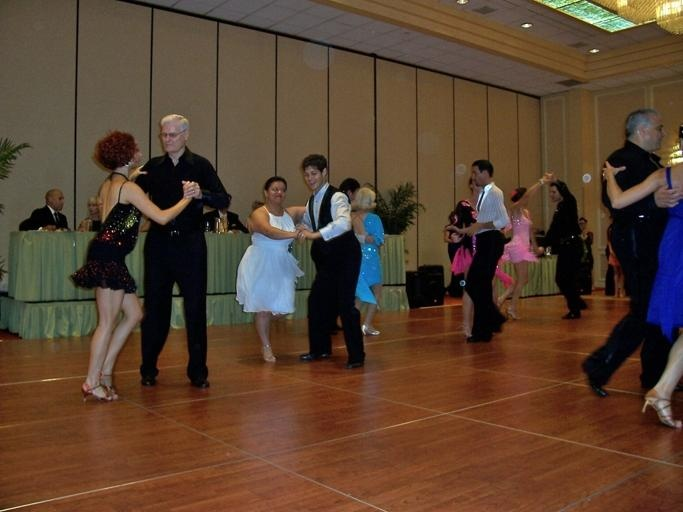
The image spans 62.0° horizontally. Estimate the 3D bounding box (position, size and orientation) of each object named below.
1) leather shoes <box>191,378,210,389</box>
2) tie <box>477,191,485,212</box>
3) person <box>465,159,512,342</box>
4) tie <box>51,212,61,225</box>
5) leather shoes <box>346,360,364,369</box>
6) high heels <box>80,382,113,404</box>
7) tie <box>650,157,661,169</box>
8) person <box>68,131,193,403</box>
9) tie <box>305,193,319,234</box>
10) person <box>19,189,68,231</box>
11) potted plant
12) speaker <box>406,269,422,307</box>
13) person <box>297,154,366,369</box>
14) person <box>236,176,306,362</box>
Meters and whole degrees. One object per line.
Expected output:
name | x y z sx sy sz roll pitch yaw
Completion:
leather shoes | -1.021 0.931 4.138 0.115 0.054 0.058 -3 2 36
tie | 1.430 -0.568 5.844 0.046 0.248 0.064 7 4 -16
person | 1.510 -0.041 5.846 0.395 1.897 0.473 1 3 16
tie | -3.792 -0.488 7.541 0.037 0.212 0.180 -10 -7 41
leather shoes | 0.115 0.912 4.726 0.145 0.073 0.051 7 -10 -28
high heels | -1.635 0.925 3.816 0.197 0.104 0.110 0 2 -20
tie | 2.041 -0.605 3.698 0.037 0.076 0.054 -34 -3 10
person | -1.456 0.050 3.897 0.714 1.826 0.448 -1 3 -17
tie | -0.254 -0.355 4.776 0.152 0.257 0.054 -8 6 -31
person | -3.876 -0.626 7.526 0.662 0.520 0.423 2 4 33
potted plant | 1.180 -0.945 11.500 1.054 1.343 1.097 1 4 -1
speaker | 1.260 0.579 9.849 0.266 0.580 0.487 0 3 7
person | -0.080 0.041 4.855 0.535 1.804 0.602 0 3 -5
person | -0.604 0.135 4.883 0.589 1.622 0.583 0 3 -5
